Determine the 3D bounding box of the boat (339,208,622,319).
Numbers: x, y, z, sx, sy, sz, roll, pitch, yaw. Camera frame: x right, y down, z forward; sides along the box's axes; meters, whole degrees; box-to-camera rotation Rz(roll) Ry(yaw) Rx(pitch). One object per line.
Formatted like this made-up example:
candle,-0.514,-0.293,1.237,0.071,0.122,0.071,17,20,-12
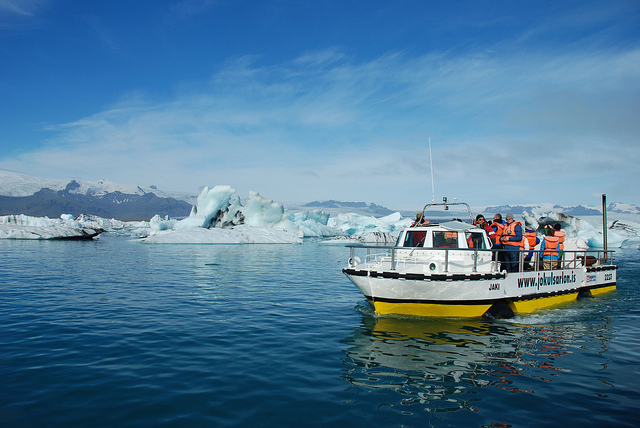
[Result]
boat,6.644,1.928,18.271,11.570,2.281,4.643,4,-8,-32
